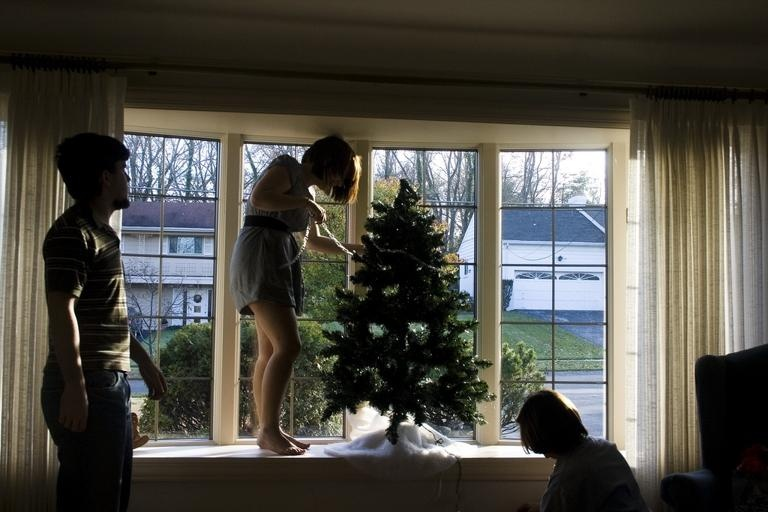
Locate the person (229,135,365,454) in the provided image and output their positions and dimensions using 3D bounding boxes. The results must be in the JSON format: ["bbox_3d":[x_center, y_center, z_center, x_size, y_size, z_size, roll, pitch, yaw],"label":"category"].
[{"bbox_3d":[-0.512,0.222,5.194,0.719,1.785,0.448,1,-2,-2],"label":"person"}]
